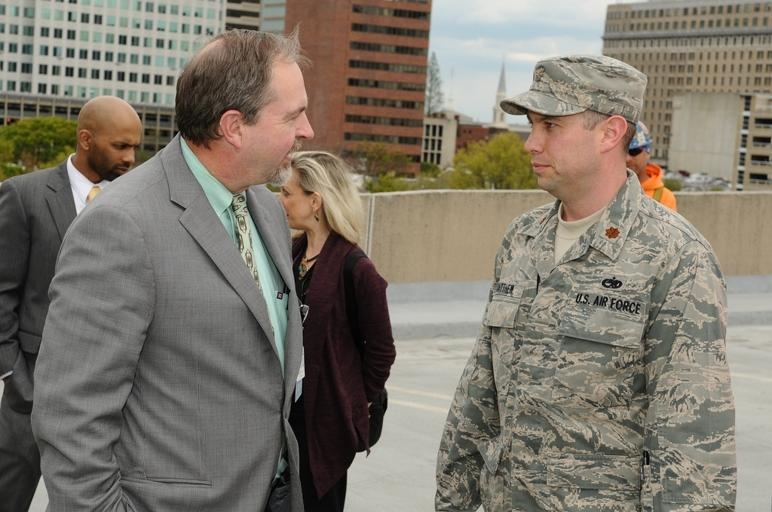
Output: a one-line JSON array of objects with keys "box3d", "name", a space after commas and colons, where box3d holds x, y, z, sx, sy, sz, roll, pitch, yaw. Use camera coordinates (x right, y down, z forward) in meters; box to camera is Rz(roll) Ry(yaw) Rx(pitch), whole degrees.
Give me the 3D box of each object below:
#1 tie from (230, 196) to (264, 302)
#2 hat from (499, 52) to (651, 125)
[{"box3d": [-0.672, -0.042, 4.812, 0.101, 0.560, 0.068, -15, -2, 38], "name": "tie"}, {"box3d": [0.944, -0.872, 5.067, 0.777, 0.315, 0.534, 0, 8, -10], "name": "hat"}]
